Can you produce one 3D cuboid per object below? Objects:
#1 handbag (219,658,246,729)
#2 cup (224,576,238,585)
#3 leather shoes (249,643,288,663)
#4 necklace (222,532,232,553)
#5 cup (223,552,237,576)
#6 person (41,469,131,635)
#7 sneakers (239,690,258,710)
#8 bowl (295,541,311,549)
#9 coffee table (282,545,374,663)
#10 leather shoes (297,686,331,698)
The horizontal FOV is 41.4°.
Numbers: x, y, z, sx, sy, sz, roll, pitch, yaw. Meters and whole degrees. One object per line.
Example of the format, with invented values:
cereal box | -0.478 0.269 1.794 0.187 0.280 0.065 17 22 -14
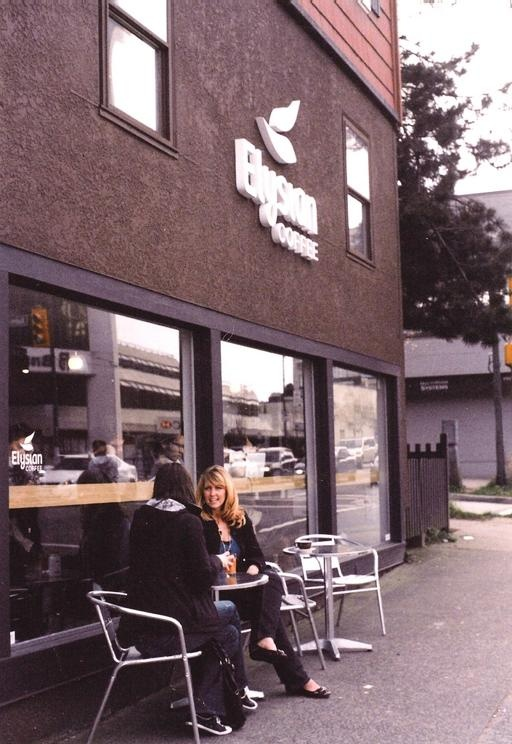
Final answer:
handbag | -0.123 1.671 3.496 0.103 0.424 0.141 -4 -5 32
cup | -0.136 1.116 3.620 0.052 0.074 0.054 0 0 0
leather shoes | 0.064 1.603 3.882 0.230 0.109 0.098 4 -13 -8
necklace | -0.181 1.092 4.328 0.055 0.112 0.023 1 -9 -34
cup | -0.160 1.167 4.123 0.040 0.141 0.091 -4 -3 6
person | -1.011 1.062 3.935 0.416 0.942 0.844 -2 -4 25
sneakers | -0.043 1.865 3.839 0.056 0.080 0.155 4 -12 -33
bowl | 0.353 1.291 5.062 0.067 0.037 0.063 -2 -6 0
coffee table | 0.715 1.800 5.725 0.609 0.964 0.740 -2 -13 -5
leather shoes | 0.346 1.899 4.066 0.163 0.055 0.083 -7 -9 24
